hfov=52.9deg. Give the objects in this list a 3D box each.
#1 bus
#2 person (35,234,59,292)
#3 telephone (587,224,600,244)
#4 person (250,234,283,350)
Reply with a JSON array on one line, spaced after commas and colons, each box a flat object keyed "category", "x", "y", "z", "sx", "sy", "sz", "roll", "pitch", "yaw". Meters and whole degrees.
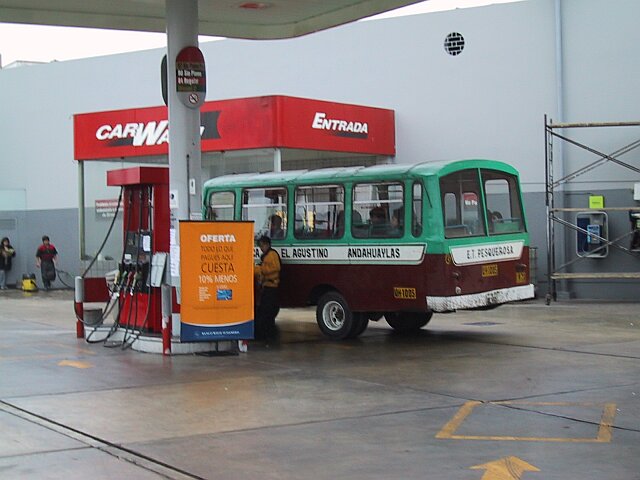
[{"category": "bus", "x": 0.564, "y": 0.209, "z": 16.034, "sx": 3.874, "sy": 3.989, "sz": 8.302, "roll": 0, "pitch": 1, "yaw": -45}, {"category": "person", "x": -11.931, "y": 0.990, "z": 28.091, "sx": 0.715, "sy": 2.257, "sz": 0.752, "roll": 0, "pitch": 0, "yaw": -12}, {"category": "telephone", "x": 8.513, "y": -0.193, "z": 20.109, "sx": 0.348, "sy": 0.617, "sz": 0.548, "roll": 0, "pitch": 0, "yaw": 22}, {"category": "person", "x": -1.136, "y": 1.045, "z": 13.807, "sx": 0.566, "sy": 1.696, "sz": 1.107, "roll": 0, "pitch": 0, "yaw": -4}]
